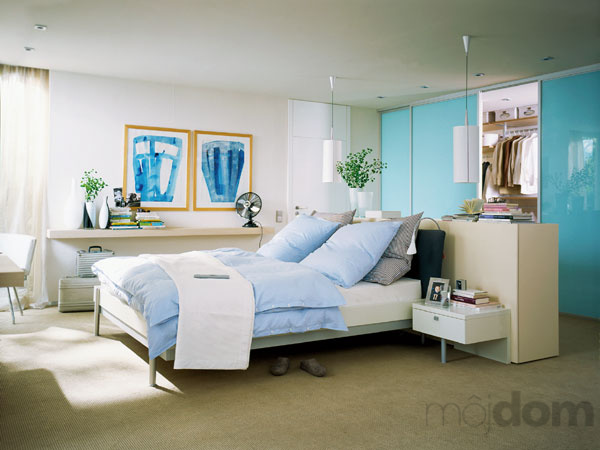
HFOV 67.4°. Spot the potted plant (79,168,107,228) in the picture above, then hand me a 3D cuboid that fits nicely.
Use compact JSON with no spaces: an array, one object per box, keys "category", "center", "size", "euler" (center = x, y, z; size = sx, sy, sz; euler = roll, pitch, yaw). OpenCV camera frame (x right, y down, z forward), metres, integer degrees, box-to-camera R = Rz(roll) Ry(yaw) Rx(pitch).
[{"category":"potted plant","center":[-2.668,-0.325,5.709],"size":[0.257,0.666,0.281],"euler":[-3,-5,31]}]

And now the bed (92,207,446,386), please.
[{"category":"bed","center":[-0.186,0.708,3.991],"size":[2.225,1.097,1.629],"euler":[2,-2,-26]}]

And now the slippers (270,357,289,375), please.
[{"category":"slippers","center":[-0.142,1.090,3.490],"size":[0.115,0.095,0.190],"euler":[5,7,43]}]

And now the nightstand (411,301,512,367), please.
[{"category":"nightstand","center":[1.377,0.922,3.847],"size":[0.571,0.456,0.670],"euler":[-2,0,-32]}]

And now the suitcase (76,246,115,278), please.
[{"category":"suitcase","center":[-2.550,0.459,5.577],"size":[0.433,0.409,0.235],"euler":[-3,19,-36]}]

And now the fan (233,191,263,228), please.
[{"category":"fan","center":[-0.754,-0.216,6.656],"size":[0.378,0.524,0.282],"euler":[-2,-3,8]}]

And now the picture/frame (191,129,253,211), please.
[{"category":"picture/frame","center":[-1.162,-0.791,6.483],"size":[1.138,1.411,0.098],"euler":[-2,7,-24]}]
